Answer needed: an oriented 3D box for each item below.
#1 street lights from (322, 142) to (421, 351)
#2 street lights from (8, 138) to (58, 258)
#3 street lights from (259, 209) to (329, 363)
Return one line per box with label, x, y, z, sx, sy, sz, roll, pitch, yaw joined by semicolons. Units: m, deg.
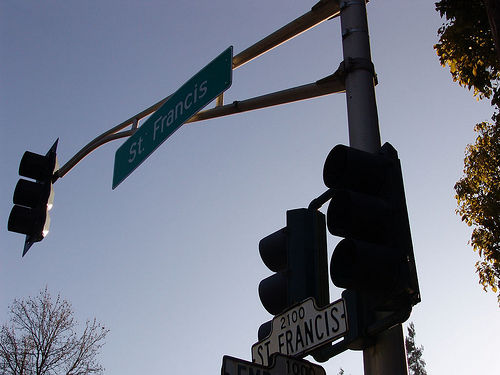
street lights;0.989;0.328;4.611;0.690;1.382;0.669;-3;-40;3
street lights;-3.459;0.204;8.784;0.527;1.933;0.868;15;-35;-27
street lights;0.397;1.080;5.683;0.619;0.467;1.732;-8;-2;3
